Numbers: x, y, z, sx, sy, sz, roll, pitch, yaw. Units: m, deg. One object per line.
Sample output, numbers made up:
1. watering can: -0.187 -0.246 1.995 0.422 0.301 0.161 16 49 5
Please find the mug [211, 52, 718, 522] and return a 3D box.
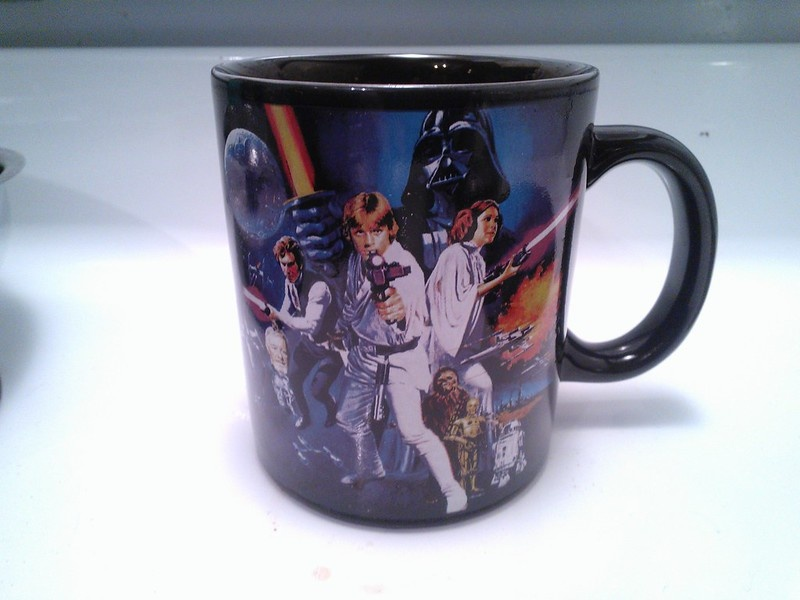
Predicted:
1. mug: 0.029 -0.057 0.893 0.484 0.461 0.326 -1 21 -4
